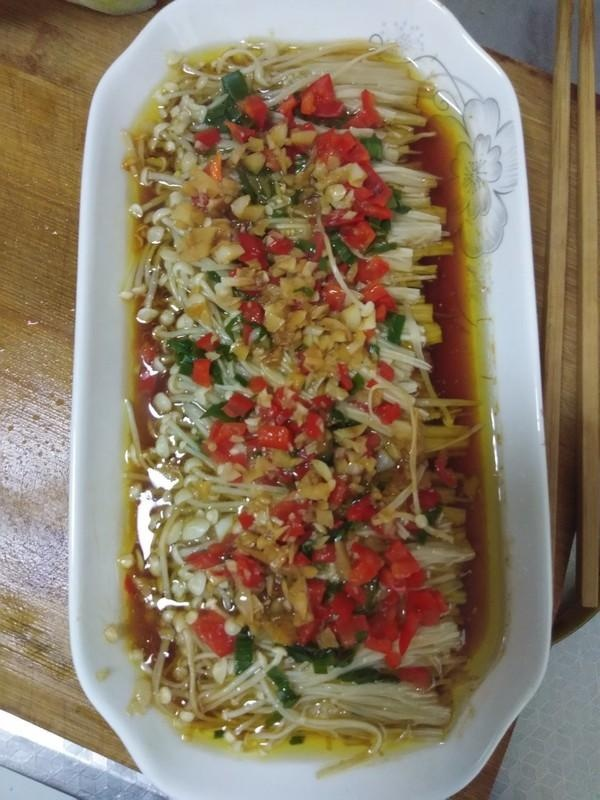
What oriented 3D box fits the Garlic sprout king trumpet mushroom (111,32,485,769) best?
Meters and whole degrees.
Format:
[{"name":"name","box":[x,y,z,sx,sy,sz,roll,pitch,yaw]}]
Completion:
[{"name":"Garlic sprout king trumpet mushroom","box":[-0.061,0.074,3.426,1.962,0.468,2.875,1,89,0]}]
